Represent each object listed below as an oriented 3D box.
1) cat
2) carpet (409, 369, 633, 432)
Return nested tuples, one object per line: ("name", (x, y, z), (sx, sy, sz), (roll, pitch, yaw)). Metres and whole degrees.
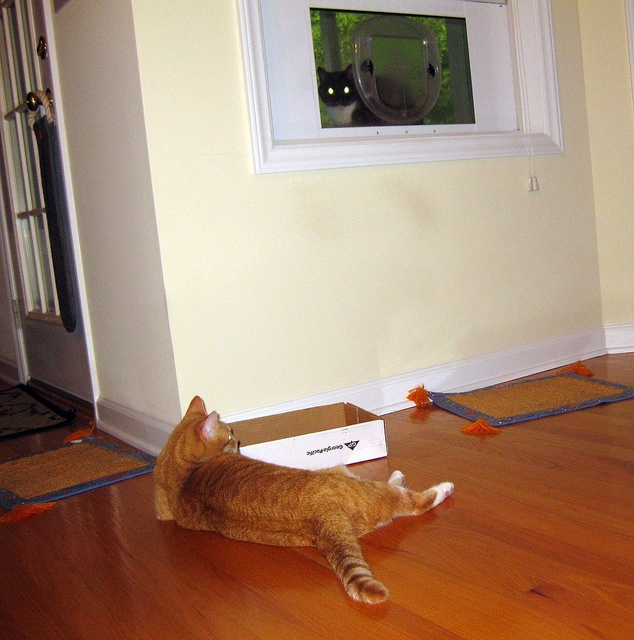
("cat", (-0.098, 0.387, 1.334), (0.527, 0.178, 0.350), (6, 20, 40))
("carpet", (0.784, 0.278, 2.311), (0.794, 0.073, 0.536), (-7, 6, -14))
